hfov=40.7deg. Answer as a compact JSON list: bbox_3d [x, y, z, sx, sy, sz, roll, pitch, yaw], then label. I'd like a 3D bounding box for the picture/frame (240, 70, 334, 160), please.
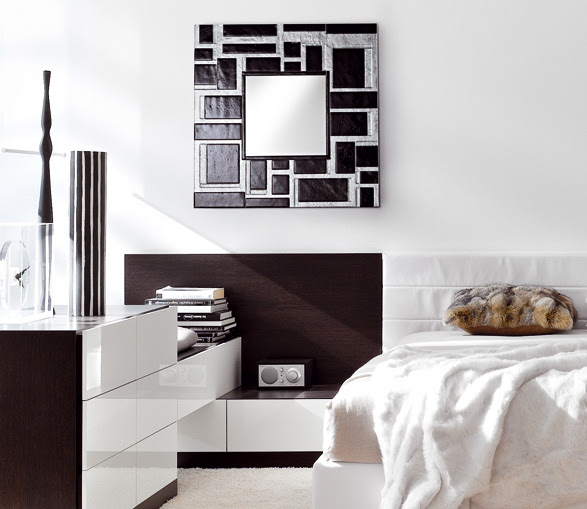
[{"bbox_3d":[-0.016,-0.772,4.486,0.445,0.478,0.034,0,-2,1],"label":"picture/frame"}]
